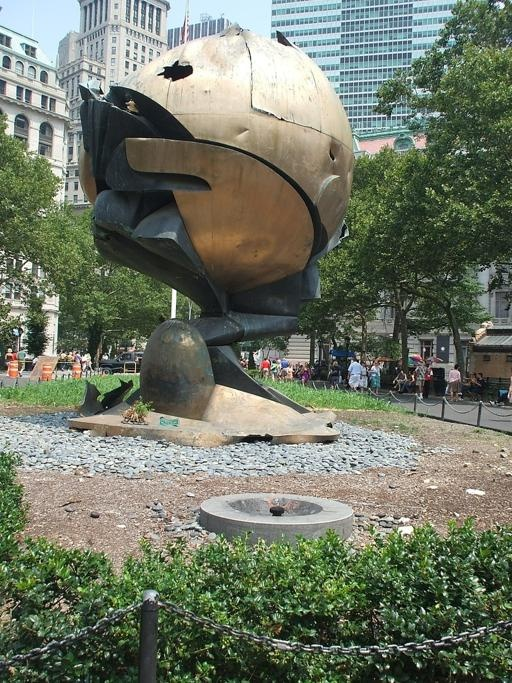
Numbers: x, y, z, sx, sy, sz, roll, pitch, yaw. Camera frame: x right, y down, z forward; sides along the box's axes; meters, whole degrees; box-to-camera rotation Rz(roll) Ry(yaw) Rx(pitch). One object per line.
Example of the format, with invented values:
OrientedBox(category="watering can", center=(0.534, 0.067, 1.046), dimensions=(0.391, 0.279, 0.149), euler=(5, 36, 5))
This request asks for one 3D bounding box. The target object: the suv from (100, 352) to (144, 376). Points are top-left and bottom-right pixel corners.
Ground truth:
OrientedBox(category="suv", center=(-8.489, 1.483, 38.625), dimensions=(2.640, 1.219, 1.683), euler=(2, -3, 2))

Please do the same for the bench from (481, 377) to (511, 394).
OrientedBox(category="bench", center=(10.284, 1.934, 25.844), dimensions=(1.346, 0.316, 1.222), euler=(2, 6, -9))
